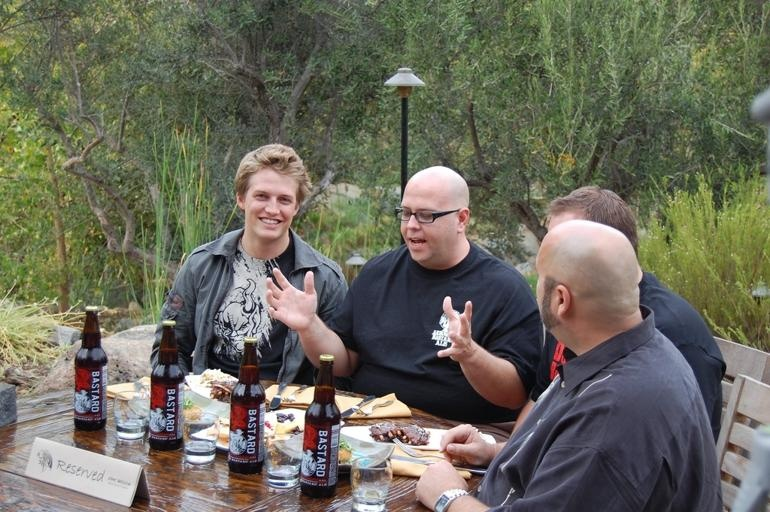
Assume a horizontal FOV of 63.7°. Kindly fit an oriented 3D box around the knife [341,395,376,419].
[{"bbox_3d":[-0.139,0.720,2.965,0.049,0.015,0.351,22,9,14],"label":"knife"}]

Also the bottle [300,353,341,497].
[{"bbox_3d":[-0.249,0.641,2.337,0.137,0.539,0.138,1,-3,0],"label":"bottle"}]

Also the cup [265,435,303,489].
[{"bbox_3d":[-0.392,0.788,2.419,0.158,0.205,0.174,1,-2,-4],"label":"cup"}]

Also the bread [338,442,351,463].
[{"bbox_3d":[-0.165,0.786,2.475,0.020,0.069,0.049,-8,-5,31],"label":"bread"}]

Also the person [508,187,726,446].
[{"bbox_3d":[1.188,0.273,3.683,0.964,1.658,1.712,-1,-4,4],"label":"person"}]

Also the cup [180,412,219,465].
[{"bbox_3d":[-0.749,0.736,2.509,0.153,0.199,0.167,0,-5,0],"label":"cup"}]
